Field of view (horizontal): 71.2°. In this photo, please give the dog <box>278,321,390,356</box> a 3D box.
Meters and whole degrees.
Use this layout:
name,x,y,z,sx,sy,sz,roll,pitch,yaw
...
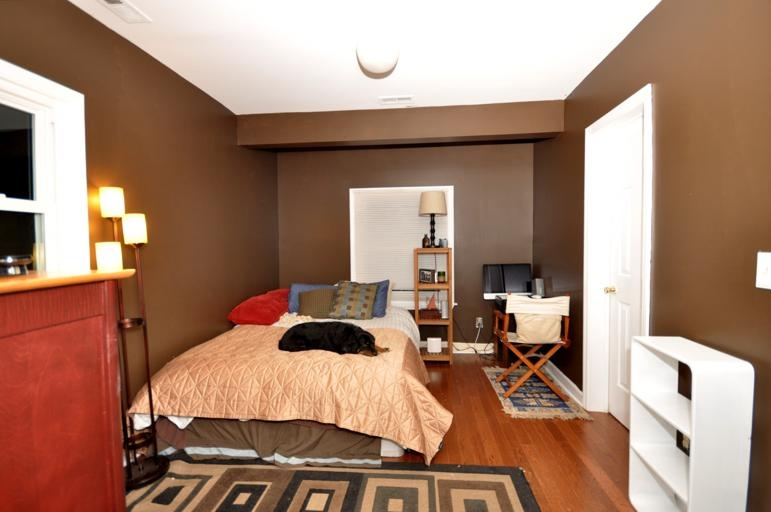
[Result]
name,x,y,z,sx,sy,sz,roll,pitch,yaw
dog,-0.519,0.745,4.842,0.766,0.253,0.395,0,-12,7

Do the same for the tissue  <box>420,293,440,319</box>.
name,x,y,z,sx,sy,sz,roll,pitch,yaw
tissue ,0.554,0.600,6.506,0.253,0.264,0.413,1,4,11

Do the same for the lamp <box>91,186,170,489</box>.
name,x,y,z,sx,sy,sz,roll,pitch,yaw
lamp,-2.001,0.605,4.236,0.479,2.297,0.792,-2,5,-29

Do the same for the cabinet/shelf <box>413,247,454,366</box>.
name,x,y,z,sx,sy,sz,roll,pitch,yaw
cabinet/shelf,0.580,0.579,6.490,0.475,1.340,0.430,0,3,9

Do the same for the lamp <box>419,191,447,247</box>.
name,x,y,z,sx,sy,sz,roll,pitch,yaw
lamp,0.586,-0.447,6.537,0.336,0.678,0.418,1,4,8

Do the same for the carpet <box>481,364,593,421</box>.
name,x,y,z,sx,sy,sz,roll,pitch,yaw
carpet,1.451,1.374,5.437,0.785,0.144,1.196,0,4,-6
